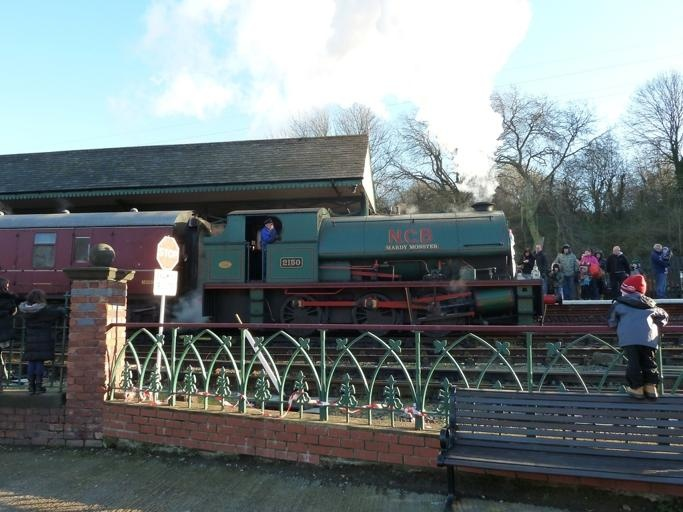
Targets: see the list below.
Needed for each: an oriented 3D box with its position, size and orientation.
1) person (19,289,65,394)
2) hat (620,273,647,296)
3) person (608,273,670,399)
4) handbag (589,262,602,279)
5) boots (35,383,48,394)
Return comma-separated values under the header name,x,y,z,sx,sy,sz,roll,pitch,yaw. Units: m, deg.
name,x,y,z,sx,sy,sz,roll,pitch,yaw
person,-4.566,1.314,12.449,0.665,1.594,1.006,-8,15,-19
hat,3.910,0.374,10.716,0.366,0.215,0.249,8,2,21
person,3.837,1.132,10.483,0.698,1.633,1.266,3,15,21
handbag,6.758,0.386,21.451,0.540,0.416,0.201,-1,9,3
boots,-4.560,1.996,12.299,0.126,0.163,0.272,-6,14,-14
